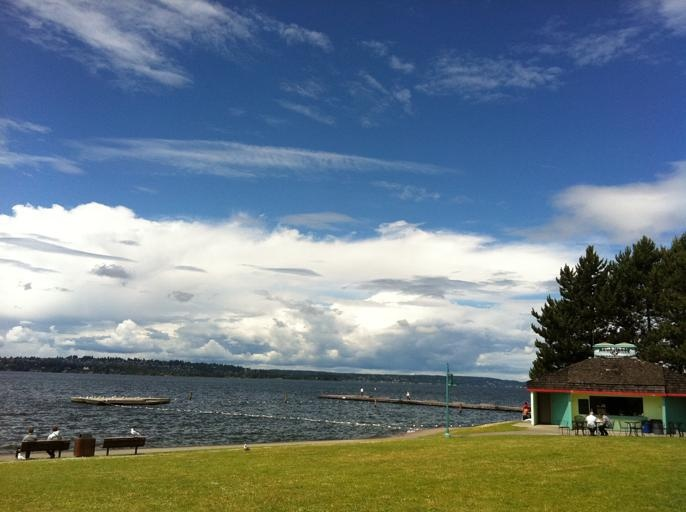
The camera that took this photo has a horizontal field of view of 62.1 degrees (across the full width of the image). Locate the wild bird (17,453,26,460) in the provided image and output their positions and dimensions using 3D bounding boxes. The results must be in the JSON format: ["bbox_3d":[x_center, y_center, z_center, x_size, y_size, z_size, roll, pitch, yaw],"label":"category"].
[{"bbox_3d":[-20.981,13.066,37.123,0.839,0.381,0.429,-18,-24,32],"label":"wild bird"}]

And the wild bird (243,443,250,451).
[{"bbox_3d":[-6.894,13.869,41.259,0.397,0.475,1.148,4,-22,-15],"label":"wild bird"}]

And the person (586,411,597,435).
[{"bbox_3d":[18.649,12.625,42.749,0.755,1.431,1.189,-5,-14,27],"label":"person"}]
